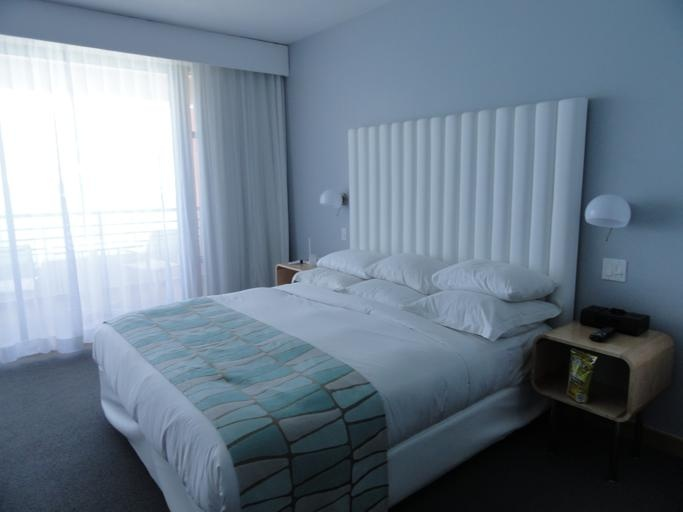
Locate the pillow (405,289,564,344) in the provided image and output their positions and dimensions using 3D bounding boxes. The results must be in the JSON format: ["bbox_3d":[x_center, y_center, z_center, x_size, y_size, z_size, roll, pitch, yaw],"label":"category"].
[{"bbox_3d":[0.855,0.384,3.119,0.495,0.143,0.484,-9,10,-35],"label":"pillow"}]

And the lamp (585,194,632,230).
[{"bbox_3d":[1.647,-0.269,2.909,0.224,0.177,0.229,11,9,43],"label":"lamp"}]

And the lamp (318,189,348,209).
[{"bbox_3d":[-0.089,-0.579,4.745,0.165,0.137,0.261,6,7,44],"label":"lamp"}]

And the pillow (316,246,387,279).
[{"bbox_3d":[0.087,0.057,4.215,0.367,0.109,0.347,6,15,43],"label":"pillow"}]

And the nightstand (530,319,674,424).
[{"bbox_3d":[1.638,0.688,2.947,0.707,0.444,0.570,-9,11,-34],"label":"nightstand"}]

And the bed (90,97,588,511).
[{"bbox_3d":[-0.081,0.287,3.470,2.878,2.445,2.814,-6,11,-36],"label":"bed"}]

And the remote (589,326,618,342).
[{"bbox_3d":[1.582,0.463,2.833,0.165,0.045,0.082,-12,15,-34],"label":"remote"}]
